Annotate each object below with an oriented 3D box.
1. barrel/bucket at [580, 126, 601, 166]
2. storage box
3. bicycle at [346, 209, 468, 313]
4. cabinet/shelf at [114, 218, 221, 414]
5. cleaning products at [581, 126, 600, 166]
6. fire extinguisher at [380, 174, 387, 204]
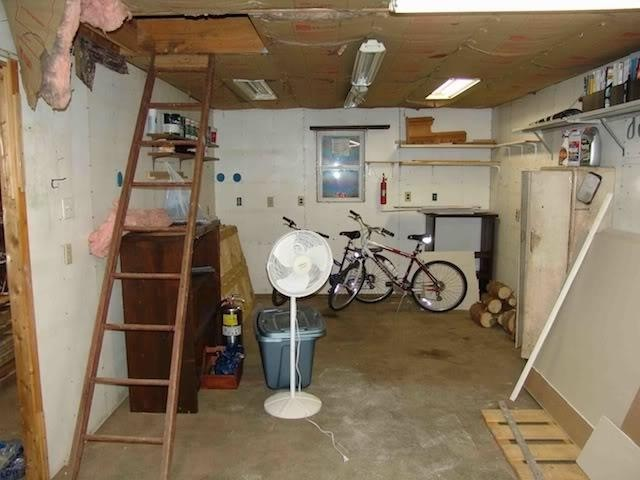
[{"bbox_3d":[2.682,-0.913,4.936,0.156,0.480,0.324,-2,7,8],"label":"barrel/bucket"},{"bbox_3d":[-0.307,1.106,4.891,0.670,0.741,0.622,2,7,-8],"label":"storage box"},{"bbox_3d":[1.153,0.333,7.696,2.004,1.388,1.015,7,7,8],"label":"bicycle"},{"bbox_3d":[-1.381,0.709,4.401,0.523,1.369,1.627,0,5,3],"label":"cabinet/shelf"},{"bbox_3d":[2.680,-0.918,4.942,0.181,0.378,0.104,6,8,26],"label":"cleaning products"},{"bbox_3d":[0.973,-0.772,7.628,0.127,0.480,0.212,4,7,7],"label":"fire extinguisher"}]
